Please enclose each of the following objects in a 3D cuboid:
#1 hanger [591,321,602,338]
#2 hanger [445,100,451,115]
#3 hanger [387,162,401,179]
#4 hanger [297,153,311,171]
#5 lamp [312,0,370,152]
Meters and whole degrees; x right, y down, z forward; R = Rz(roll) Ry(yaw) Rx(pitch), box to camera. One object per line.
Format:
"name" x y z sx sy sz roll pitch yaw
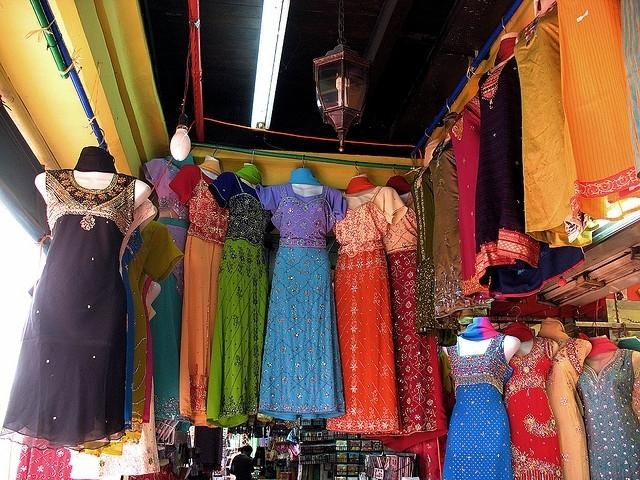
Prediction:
"hanger" 2.238 0.717 4.293 0.119 0.132 0.062 1 -11 3
"hanger" 0.892 -0.918 3.674 0.026 0.085 0.058 -10 15 -18
"hanger" 0.624 -0.587 4.484 0.138 0.175 0.119 0 -4 6
"hanger" -0.137 -0.639 4.365 0.079 0.128 0.121 -3 -20 16
"lamp" 0.135 -0.818 3.052 0.306 0.564 0.237 -10 -21 17
